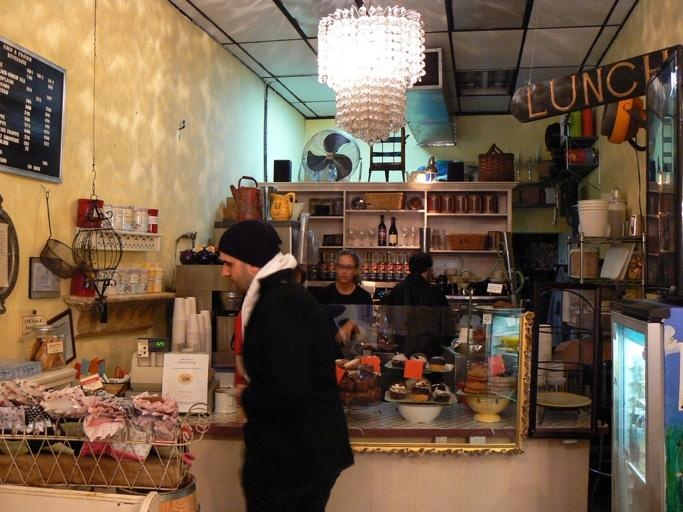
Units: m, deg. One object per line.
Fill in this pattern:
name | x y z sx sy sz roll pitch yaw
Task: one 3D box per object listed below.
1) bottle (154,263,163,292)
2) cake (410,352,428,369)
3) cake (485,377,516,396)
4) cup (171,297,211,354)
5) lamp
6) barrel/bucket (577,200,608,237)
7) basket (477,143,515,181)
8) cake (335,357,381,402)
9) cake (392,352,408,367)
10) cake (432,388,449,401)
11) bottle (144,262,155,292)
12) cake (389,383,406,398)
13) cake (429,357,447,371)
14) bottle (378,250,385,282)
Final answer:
bottle | -1.449 0.180 4.648 0.020 0.202 0.062 -3 -4 30
cake | 0.425 0.564 3.223 0.069 0.054 0.071 4 -3 10
cake | 0.857 0.686 3.158 0.104 0.042 0.114 3 6 33
cup | -0.905 0.417 3.628 0.180 0.321 0.237 -3 -4 40
lamp | 0.349 -1.577 5.260 1.032 1.180 1.053 0 1 20
barrel/bucket | 1.800 -0.260 4.239 0.213 0.257 0.257 0 -5 12
basket | 1.899 -1.163 7.403 0.379 0.537 0.509 1 8 12
cake | 0.103 0.665 3.255 0.229 0.238 0.208 -5 -6 25
cake | 0.321 0.563 3.250 0.071 0.069 0.073 -2 -3 25
cake | 0.535 0.736 3.179 0.065 0.048 0.067 1 -8 4
bottle | -1.502 0.167 4.602 0.057 0.223 0.161 1 -4 -18
cake | 0.310 0.713 3.202 0.076 0.073 0.075 1 -9 4
cake | 0.522 0.575 3.221 0.072 0.057 0.074 1 -4 4
bottle | 0.476 0.115 7.067 0.088 0.345 0.254 -1 -3 3
